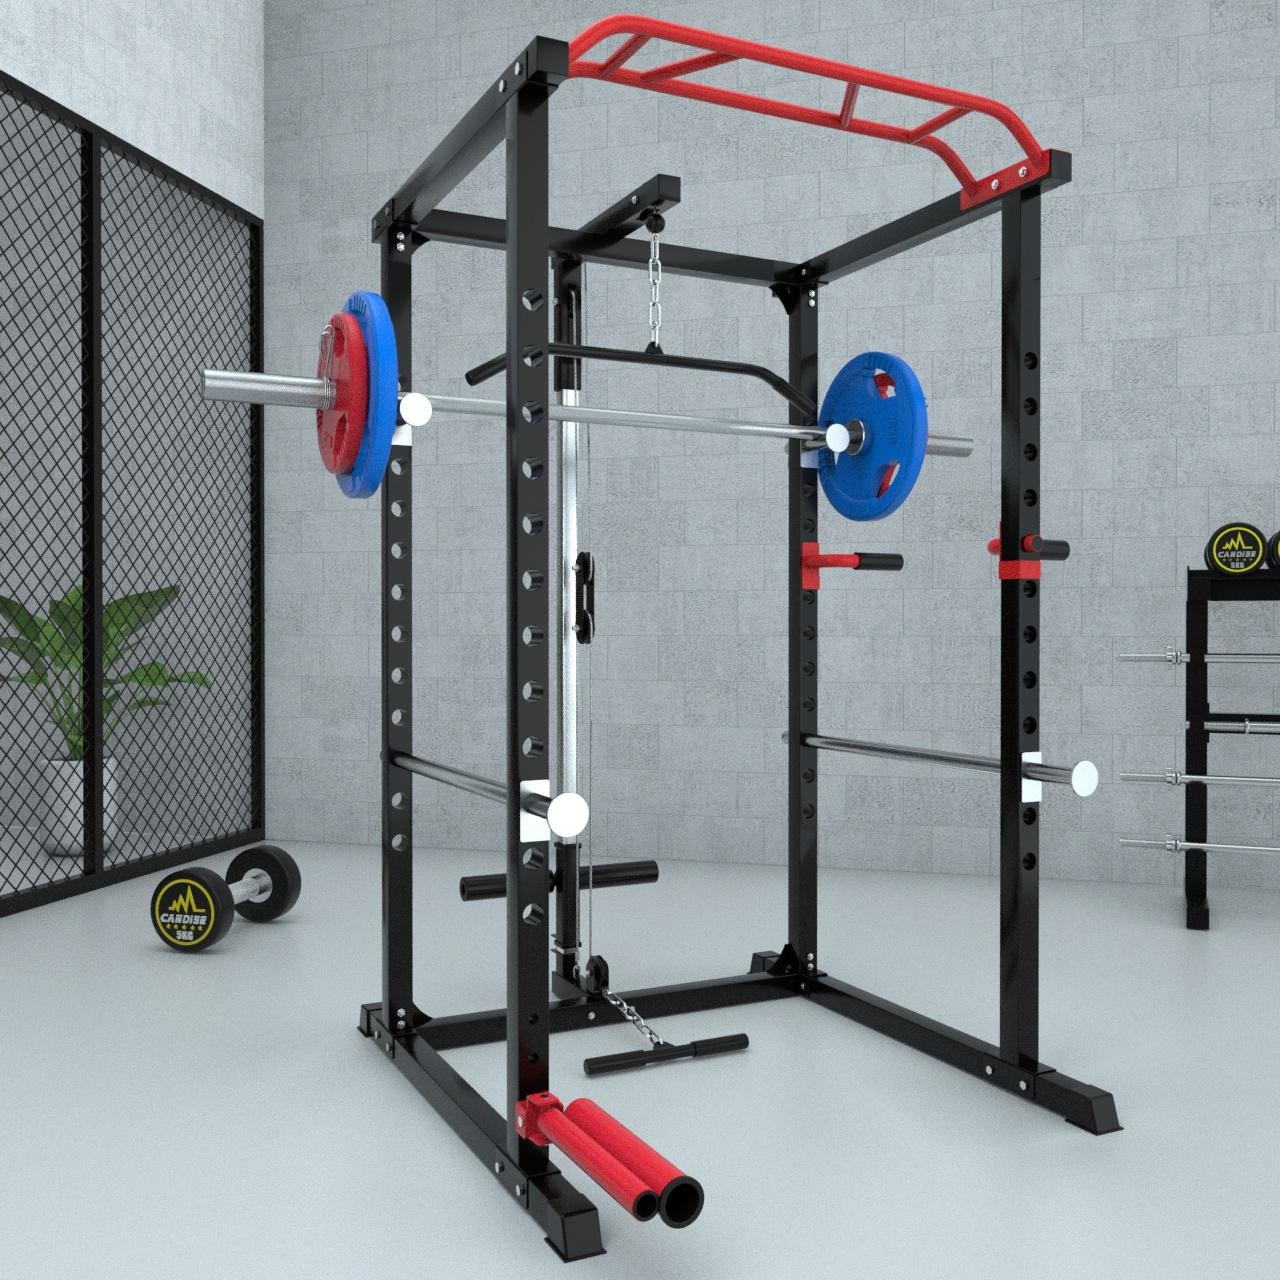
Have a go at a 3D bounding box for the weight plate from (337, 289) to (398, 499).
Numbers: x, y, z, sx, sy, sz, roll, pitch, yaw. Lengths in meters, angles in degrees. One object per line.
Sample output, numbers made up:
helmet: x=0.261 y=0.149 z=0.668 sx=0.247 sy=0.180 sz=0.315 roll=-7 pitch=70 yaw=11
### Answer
weight plate: x=-0.483 y=-0.440 z=2.666 sx=0.090 sy=0.366 sz=0.249 roll=-2 pitch=6 yaw=-21

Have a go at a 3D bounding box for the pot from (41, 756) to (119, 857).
pot: x=-1.782 y=0.548 z=4.785 sx=0.224 sy=0.345 sz=0.385 roll=-4 pitch=7 yaw=-38

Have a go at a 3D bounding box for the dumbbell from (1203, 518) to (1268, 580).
dumbbell: x=1.661 y=-0.245 z=4.125 sx=0.150 sy=0.193 sz=0.051 roll=1 pitch=-2 yaw=15

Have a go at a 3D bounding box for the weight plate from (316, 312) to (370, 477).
weight plate: x=-0.528 y=-0.436 z=2.654 sx=0.058 sy=0.321 sz=0.287 roll=1 pitch=15 yaw=-15

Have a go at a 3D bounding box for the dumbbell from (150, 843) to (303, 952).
dumbbell: x=-1.079 y=0.676 z=3.920 sx=0.229 sy=0.238 sz=0.425 roll=2 pitch=7 yaw=22
